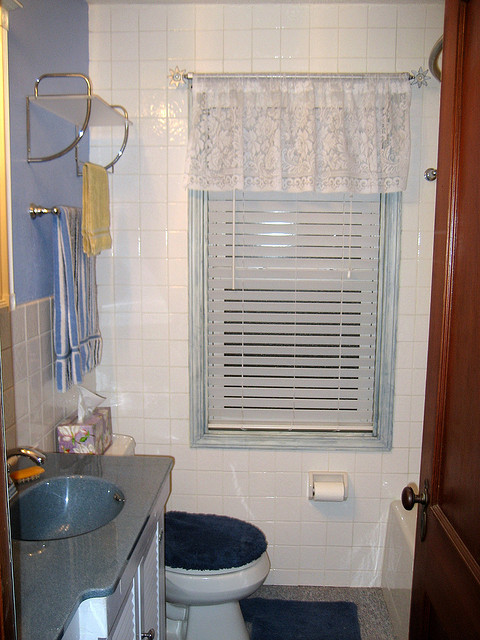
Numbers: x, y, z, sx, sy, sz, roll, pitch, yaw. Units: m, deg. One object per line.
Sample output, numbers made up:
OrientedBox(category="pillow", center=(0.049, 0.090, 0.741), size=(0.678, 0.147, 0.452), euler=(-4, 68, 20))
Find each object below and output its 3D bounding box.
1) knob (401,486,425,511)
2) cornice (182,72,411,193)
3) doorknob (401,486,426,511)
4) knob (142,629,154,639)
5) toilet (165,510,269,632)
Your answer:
OrientedBox(category="knob", center=(0.355, 0.375, 1.187), size=(0.039, 0.054, 0.045), euler=(3, 24, 2))
OrientedBox(category="cornice", center=(0.219, -0.733, 2.222), size=(0.878, 0.455, 0.074), euler=(1, 5, 1))
OrientedBox(category="doorknob", center=(0.361, 0.375, 1.187), size=(0.040, 0.057, 0.047), euler=(4, 27, 2))
OrientedBox(category="knob", center=(-0.227, 0.784, 1.417), size=(0.033, 0.013, 0.023), euler=(-1, 11, -21))
OrientedBox(category="toilet", center=(-0.090, 0.927, 2.065), size=(0.352, 0.367, 0.408), euler=(0, 6, -10))
